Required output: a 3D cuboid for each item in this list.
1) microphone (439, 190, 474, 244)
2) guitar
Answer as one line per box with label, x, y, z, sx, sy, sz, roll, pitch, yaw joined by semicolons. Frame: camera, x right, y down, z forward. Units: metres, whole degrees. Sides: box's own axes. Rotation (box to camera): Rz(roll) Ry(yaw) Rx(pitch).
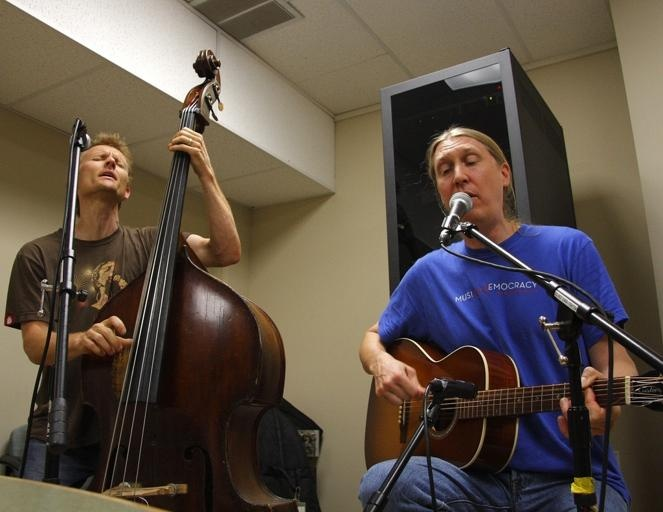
microphone;0.412;-0.123;2.126;0.074;0.264;0.078;27;-46;-1
guitar;0.552;0.501;2.302;1.246;0.535;0.220;-18;-22;40
